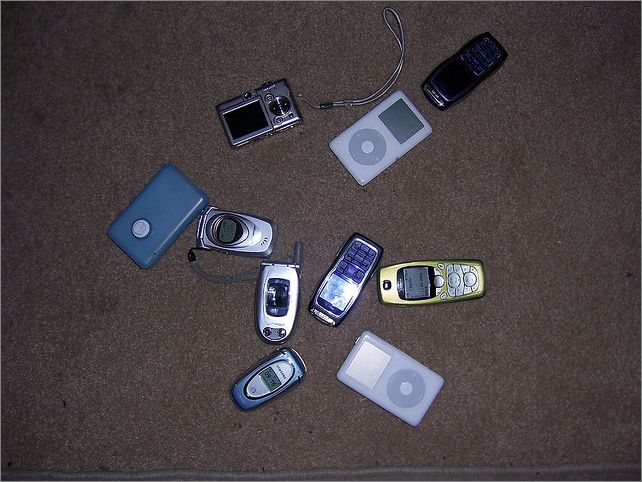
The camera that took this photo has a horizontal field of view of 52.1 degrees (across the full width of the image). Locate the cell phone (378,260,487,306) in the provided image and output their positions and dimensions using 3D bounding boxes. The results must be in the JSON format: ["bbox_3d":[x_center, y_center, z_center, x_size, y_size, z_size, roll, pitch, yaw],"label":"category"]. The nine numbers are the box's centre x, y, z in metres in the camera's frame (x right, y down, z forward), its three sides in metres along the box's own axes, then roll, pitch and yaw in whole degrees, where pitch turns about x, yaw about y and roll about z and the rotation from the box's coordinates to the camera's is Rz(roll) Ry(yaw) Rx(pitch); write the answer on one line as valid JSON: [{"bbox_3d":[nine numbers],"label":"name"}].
[{"bbox_3d":[0.244,0.097,1.453,0.215,0.054,0.116,-3,90,1],"label":"cell phone"}]

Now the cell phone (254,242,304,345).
[{"bbox_3d":[-0.101,0.123,1.458,0.081,0.058,0.206,2,85,2],"label":"cell phone"}]

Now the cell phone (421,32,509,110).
[{"bbox_3d":[0.344,-0.405,1.589,0.221,0.051,0.123,-43,89,0],"label":"cell phone"}]

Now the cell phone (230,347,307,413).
[{"bbox_3d":[-0.117,0.316,1.492,0.172,0.046,0.106,-31,82,-6],"label":"cell phone"}]

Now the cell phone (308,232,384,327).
[{"bbox_3d":[0.053,0.094,1.557,0.117,0.056,0.228,30,91,3],"label":"cell phone"}]
